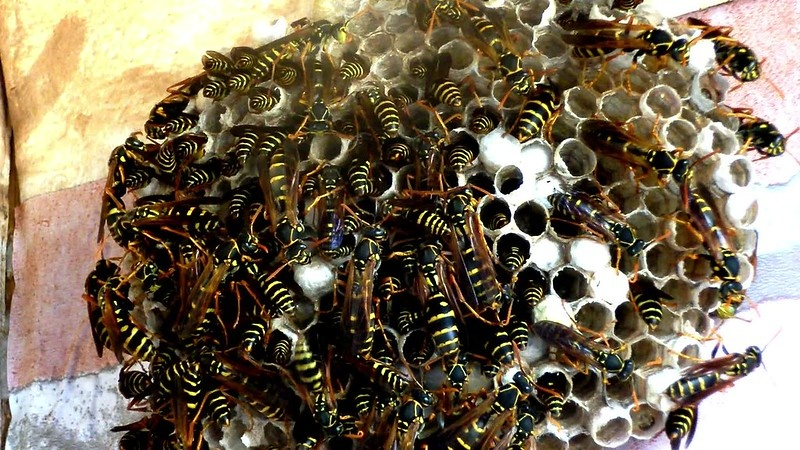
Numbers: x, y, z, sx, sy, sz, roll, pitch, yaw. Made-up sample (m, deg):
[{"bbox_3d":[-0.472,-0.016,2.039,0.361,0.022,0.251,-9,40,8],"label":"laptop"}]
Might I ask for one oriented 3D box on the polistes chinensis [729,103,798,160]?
[{"bbox_3d":[2.416,-0.602,6.974,0.434,0.131,0.305,36,101,21],"label":"polistes chinensis"}]
